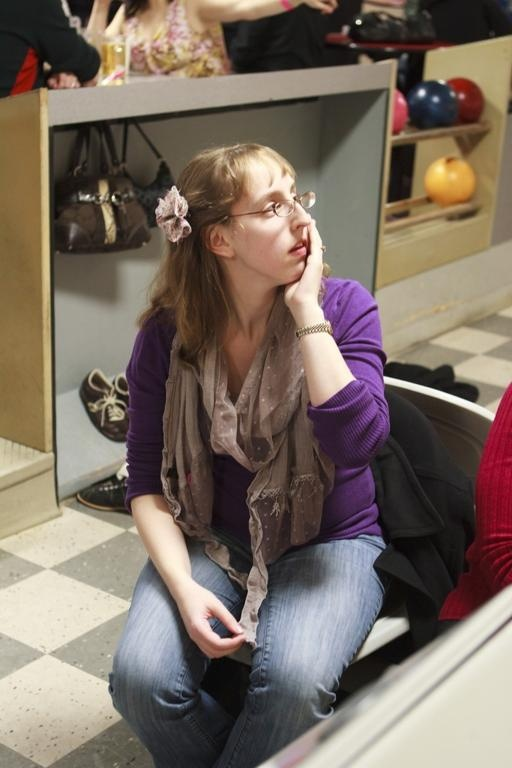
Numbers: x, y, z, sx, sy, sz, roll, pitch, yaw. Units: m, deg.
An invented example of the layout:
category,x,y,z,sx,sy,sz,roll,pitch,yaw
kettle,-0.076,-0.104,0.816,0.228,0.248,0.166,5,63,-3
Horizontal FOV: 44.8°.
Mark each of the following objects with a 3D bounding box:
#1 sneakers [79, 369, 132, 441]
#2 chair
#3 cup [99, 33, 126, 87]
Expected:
category,x,y,z,sx,sy,sz,roll,pitch,yaw
sneakers,-0.593,0.093,2.433,0.137,0.089,0.247,-24,68,-33
chair,0.212,0.261,1.454,0.544,0.648,0.503,-9,26,-36
cup,-0.518,-1.177,2.252,0.102,0.162,0.098,6,37,-5
